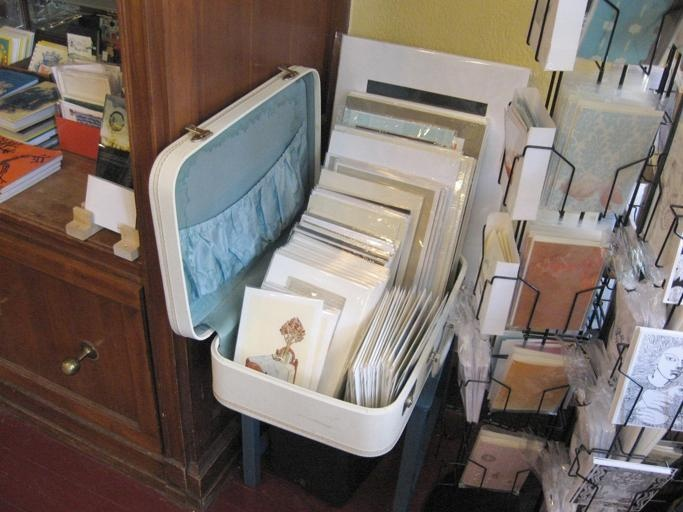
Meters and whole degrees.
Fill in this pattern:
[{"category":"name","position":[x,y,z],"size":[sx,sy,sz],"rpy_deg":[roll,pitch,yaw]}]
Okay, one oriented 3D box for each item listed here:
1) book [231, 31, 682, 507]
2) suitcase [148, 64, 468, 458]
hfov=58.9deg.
[{"category":"book","position":[0.276,-0.016,1.445],"size":[0.663,1.310,0.754],"rpy_deg":[19,44,15]},{"category":"suitcase","position":[-0.049,0.159,1.544],"size":[0.594,1.061,0.547],"rpy_deg":[18,33,22]}]
